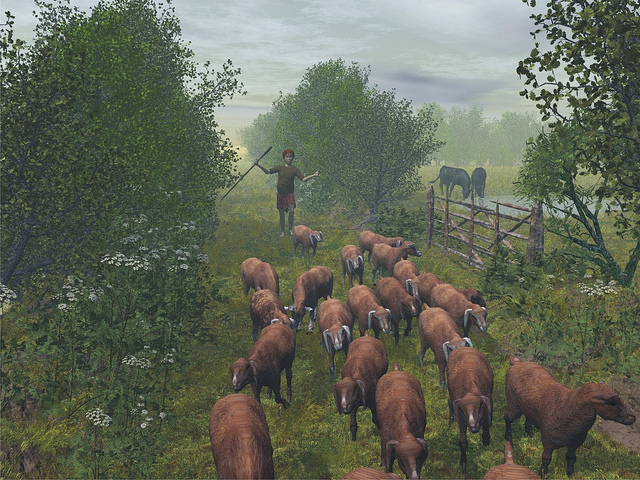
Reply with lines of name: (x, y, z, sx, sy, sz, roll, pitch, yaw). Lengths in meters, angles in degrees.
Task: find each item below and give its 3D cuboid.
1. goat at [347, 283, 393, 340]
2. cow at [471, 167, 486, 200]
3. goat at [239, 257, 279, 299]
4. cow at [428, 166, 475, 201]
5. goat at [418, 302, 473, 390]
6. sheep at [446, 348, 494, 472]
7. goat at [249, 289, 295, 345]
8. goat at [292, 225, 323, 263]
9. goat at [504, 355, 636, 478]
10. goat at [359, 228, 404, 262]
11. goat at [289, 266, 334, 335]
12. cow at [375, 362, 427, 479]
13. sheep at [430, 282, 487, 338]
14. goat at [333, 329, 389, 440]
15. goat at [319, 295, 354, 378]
goat: (1.723, 2.443, 25.579, 1.204, 1.896, 1.231, 6, 14, -36)
cow: (11.203, -3.954, 53.137, 0.928, 2.259, 2.969, 4, 9, 11)
goat: (-2.240, 1.591, 28.079, 1.108, 1.562, 1.216, 5, 8, -10)
cow: (9.496, -4.192, 54.108, 3.016, 1.971, 0.772, 16, 10, 35)
goat: (3.946, 3.458, 24.145, 0.970, 2.091, 3.971, -5, 15, -8)
sheep: (4.304, 4.242, 22.185, 0.880, 2.138, 3.611, -4, 2, 7)
goat: (-1.662, 2.900, 25.517, 0.850, 1.854, 3.262, -7, 17, -24)
goat: (-0.551, 0.225, 34.308, 0.643, 1.630, 2.531, -9, 17, -30)
goat: (6.553, 5.060, 20.705, 3.201, 2.653, 1.063, 11, 12, 42)
goat: (2.583, 0.209, 33.227, 1.240, 1.271, 1.167, 2, 10, -11)
goat: (-0.313, 2.209, 27.952, 0.947, 2.275, 3.711, 4, 18, 20)
cow: (2.211, 5.176, 20.573, 1.293, 2.286, 2.694, 2, 9, 0)
sheep: (4.640, 2.540, 25.515, 0.782, 1.606, 2.713, -14, 25, -24)
goat: (1.403, 4.589, 22.823, 1.208, 2.543, 4.563, -5, 12, 15)
goat: (0.546, 3.111, 25.175, 0.844, 2.042, 3.502, -8, 18, -1)
